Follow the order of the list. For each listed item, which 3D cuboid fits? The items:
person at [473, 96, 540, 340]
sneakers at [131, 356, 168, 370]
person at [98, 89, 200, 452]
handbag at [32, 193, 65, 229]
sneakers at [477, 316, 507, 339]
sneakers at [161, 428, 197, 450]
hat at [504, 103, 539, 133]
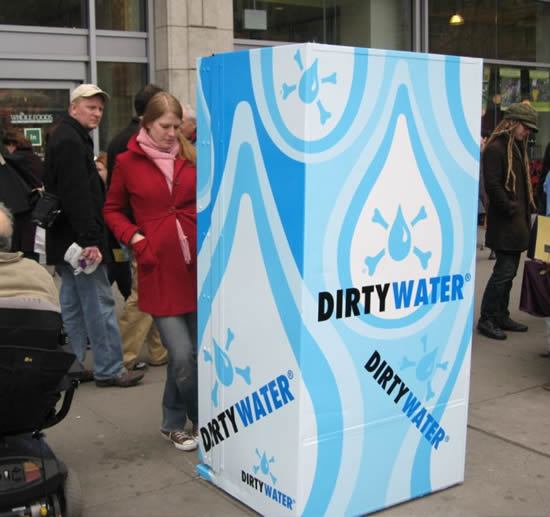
[{"bbox_3d":[2.185,-0.364,6.805,0.509,2.189,0.466,0,8,-4],"label":"person"},{"bbox_3d":[-1.021,0.837,5.829,0.249,0.154,0.093,3,-3,-29],"label":"sneakers"},{"bbox_3d":[-0.917,0.321,6.015,0.626,3.457,0.806,-4,3,13],"label":"person"},{"bbox_3d":[-1.539,-0.340,4.910,0.148,0.268,0.069,14,2,32],"label":"handbag"},{"bbox_3d":[2.050,0.645,6.863,0.118,0.185,0.301,-5,10,-23],"label":"sneakers"},{"bbox_3d":[-0.579,1.088,4.437,0.093,0.136,0.245,-2,2,-42],"label":"sneakers"},{"bbox_3d":[2.295,-1.421,6.737,0.326,0.282,0.232,27,14,32],"label":"hat"}]
